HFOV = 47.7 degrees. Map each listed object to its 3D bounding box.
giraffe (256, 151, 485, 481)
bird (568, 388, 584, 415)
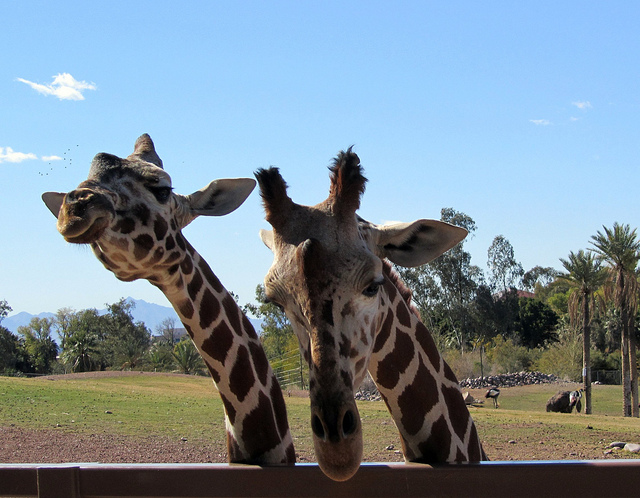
[{"bbox_3d":[0.723,1.180,7.163,1.595,2.759,4.126,-7,-19,23],"label":"giraffe"},{"bbox_3d":[11.076,6.497,31.313,0.307,1.303,0.563,-4,2,15],"label":"bird"}]
